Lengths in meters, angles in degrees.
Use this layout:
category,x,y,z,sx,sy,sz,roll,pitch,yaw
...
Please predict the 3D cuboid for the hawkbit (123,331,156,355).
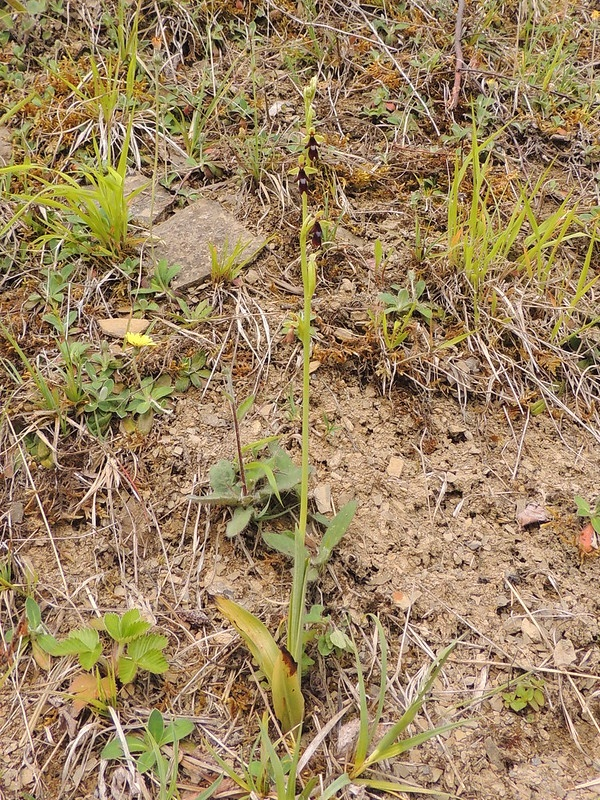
category,x,y,z,sx,sy,sz,roll,pitch,yaw
hawkbit,-0.483,-0.168,2.224,0.075,0.030,0.074,30,23,24
